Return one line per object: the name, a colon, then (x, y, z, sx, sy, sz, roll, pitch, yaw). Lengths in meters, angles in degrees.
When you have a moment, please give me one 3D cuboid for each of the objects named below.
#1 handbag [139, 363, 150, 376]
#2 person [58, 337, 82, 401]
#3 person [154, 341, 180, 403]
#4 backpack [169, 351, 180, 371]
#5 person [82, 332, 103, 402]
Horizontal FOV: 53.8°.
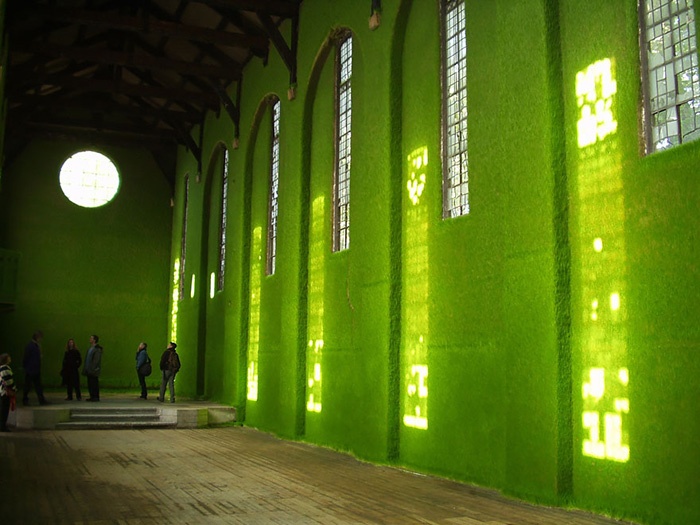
handbag: (-5.270, 2.779, 18.027, 0.239, 0.309, 0.289, 0, -7, 10)
person: (-7.206, 2.815, 18.024, 0.497, 1.612, 1.857, 2, -5, -22)
person: (-4.704, 2.869, 18.049, 0.468, 1.614, 1.975, 1, -5, -16)
backpack: (-4.359, 2.485, 17.356, 0.124, 0.448, 0.297, 3, 3, -5)
person: (-6.345, 2.642, 17.146, 0.396, 1.688, 1.370, 2, -5, -21)
